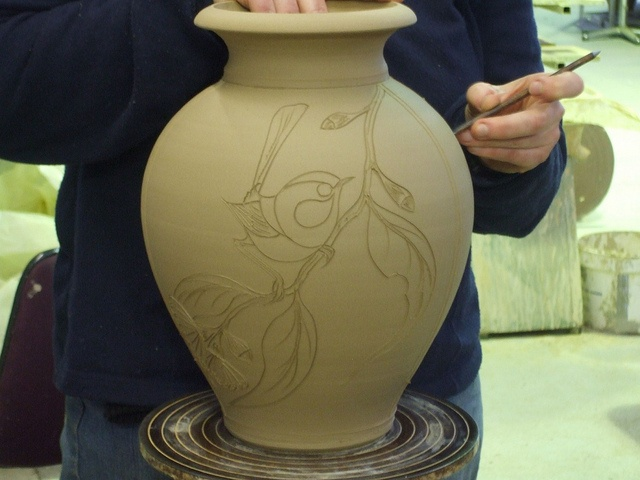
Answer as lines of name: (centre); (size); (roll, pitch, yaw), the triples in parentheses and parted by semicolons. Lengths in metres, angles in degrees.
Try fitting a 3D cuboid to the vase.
vase: (-0.013, -0.067, 1.608); (0.580, 0.924, 0.675); (2, 11, 13)
